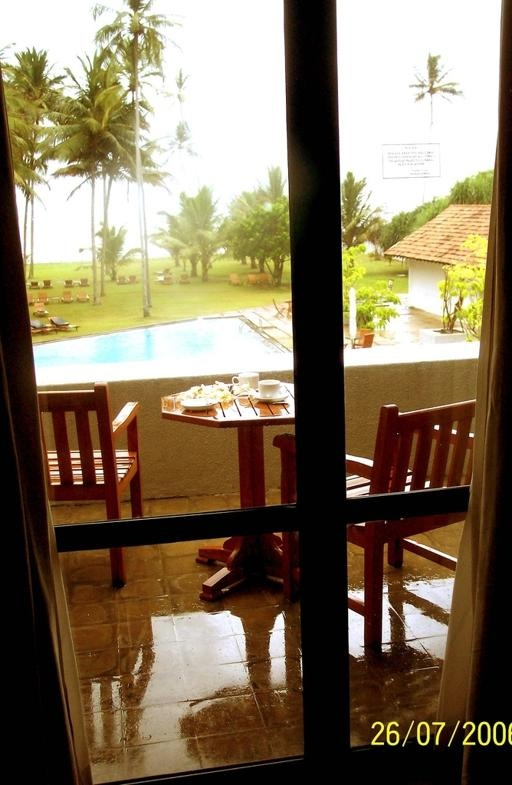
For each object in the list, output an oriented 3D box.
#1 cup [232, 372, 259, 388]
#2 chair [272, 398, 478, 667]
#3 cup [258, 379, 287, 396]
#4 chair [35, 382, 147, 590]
[{"bbox_3d":[-0.027,-0.038,1.704,0.060,0.047,0.041,0,9,8],"label":"cup"},{"bbox_3d":[0.388,0.331,1.805,0.484,0.726,0.442,-8,14,-36],"label":"chair"},{"bbox_3d":[0.043,-0.016,1.674,0.059,0.042,0.041,0,12,-1],"label":"cup"},{"bbox_3d":[-0.481,0.190,1.640,0.339,0.558,0.379,-6,18,-18],"label":"chair"}]
